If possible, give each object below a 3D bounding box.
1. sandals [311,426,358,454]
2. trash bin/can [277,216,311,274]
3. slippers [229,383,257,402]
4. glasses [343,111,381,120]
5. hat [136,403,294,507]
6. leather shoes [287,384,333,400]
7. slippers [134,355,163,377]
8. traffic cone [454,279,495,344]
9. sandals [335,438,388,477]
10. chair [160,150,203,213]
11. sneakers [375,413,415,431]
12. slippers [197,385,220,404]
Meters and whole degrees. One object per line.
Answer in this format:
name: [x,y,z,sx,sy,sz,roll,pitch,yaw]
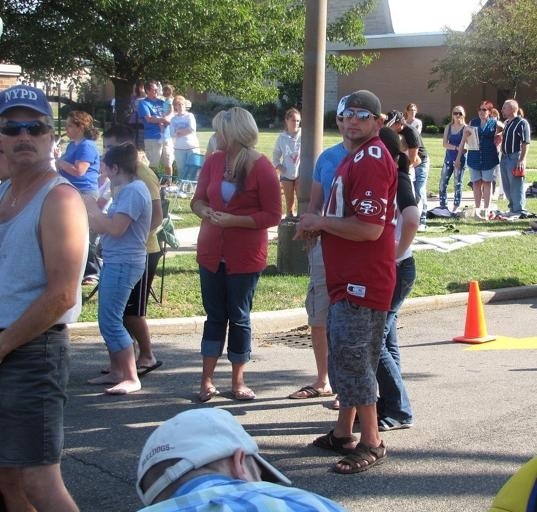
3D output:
sandals: [0.409,1.169,5.246,0.282,0.109,0.109,9,10,35]
trash bin/can: [0.290,-0.084,9.972,0.387,0.619,0.447,-2,19,-27]
slippers: [-0.180,1.034,6.171,0.093,0.068,0.184,-1,-1,-25]
glasses: [0.533,-0.826,4.853,0.190,0.054,0.087,2,11,6]
hat: [-0.182,0.585,2.511,0.379,0.184,0.256,-11,-6,-9]
leather shoes: [0.316,1.035,6.260,0.306,0.076,0.117,2,-6,-18]
slippers: [-0.966,0.903,6.704,0.251,0.070,0.091,-20,-3,-27]
traffic cone: [2.027,0.548,8.033,0.236,0.595,0.376,0,2,-19]
sandals: [0.542,1.215,4.972,0.333,0.127,0.131,-10,5,-40]
chair: [-1.638,-1.374,15.895,0.776,1.211,0.713,5,15,7]
sneakers: [0.840,1.132,5.557,0.249,0.095,0.087,3,0,-8]
slippers: [-0.452,1.042,6.115,0.069,0.049,0.191,-11,-10,-30]
